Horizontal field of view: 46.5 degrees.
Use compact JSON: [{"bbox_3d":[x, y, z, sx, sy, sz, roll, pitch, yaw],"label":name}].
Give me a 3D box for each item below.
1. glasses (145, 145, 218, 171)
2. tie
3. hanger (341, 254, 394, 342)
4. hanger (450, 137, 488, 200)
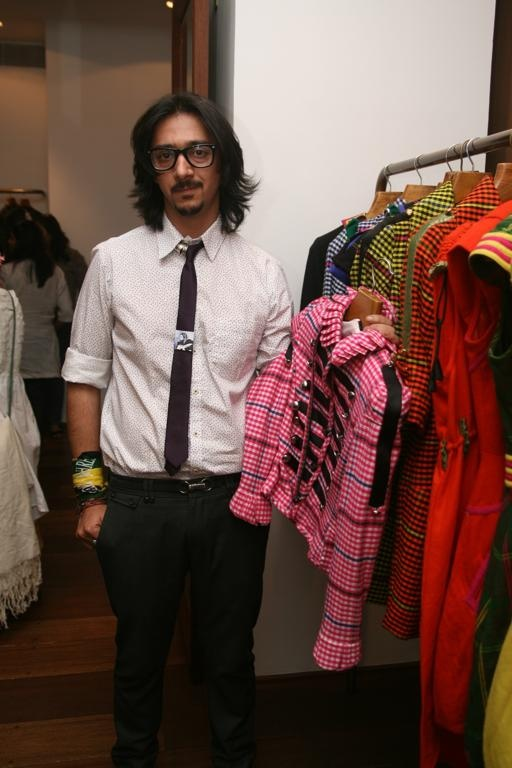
[{"bbox_3d":[-0.145,-0.442,1.166,0.125,0.060,0.054,-1,6,-5],"label":"glasses"},{"bbox_3d":[-0.145,-0.062,1.187,0.049,0.457,0.144,1,6,9],"label":"tie"},{"bbox_3d":[0.210,-0.160,1.108,0.053,0.105,0.188,-21,-13,-6],"label":"hanger"},{"bbox_3d":[0.413,-0.410,1.169,0.066,0.116,0.016,0,1,-6],"label":"hanger"}]
